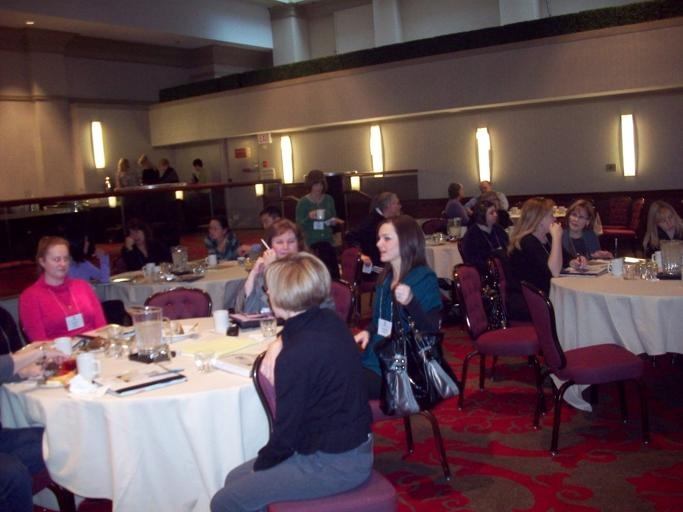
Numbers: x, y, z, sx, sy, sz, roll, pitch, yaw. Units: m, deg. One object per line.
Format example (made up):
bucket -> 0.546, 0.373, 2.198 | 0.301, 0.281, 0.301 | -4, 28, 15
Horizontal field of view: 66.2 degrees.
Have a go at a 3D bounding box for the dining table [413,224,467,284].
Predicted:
dining table -> 1.149, -0.038, 6.154 | 0.526, 0.551, 0.563 | 0, 10, 4

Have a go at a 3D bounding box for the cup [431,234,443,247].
cup -> 1.175, -0.209, 6.368 | 0.132, 0.156, 0.136 | 1, -10, 0

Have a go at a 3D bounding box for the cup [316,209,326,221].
cup -> -0.250, -0.520, 6.414 | 0.107, 0.126, 0.109 | 0, -3, 0

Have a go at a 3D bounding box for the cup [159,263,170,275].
cup -> -1.744, 0.113, 5.175 | 0.113, 0.109, 0.114 | -3, -12, -1

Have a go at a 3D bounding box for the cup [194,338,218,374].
cup -> -0.678, 0.516, 2.611 | 0.096, 0.109, 0.111 | 1, -2, 0

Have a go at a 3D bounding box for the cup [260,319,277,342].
cup -> -0.411, 0.420, 2.968 | 0.097, 0.113, 0.100 | -2, 1, 0

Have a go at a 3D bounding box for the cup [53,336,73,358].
cup -> -1.441, 0.464, 2.717 | 0.121, 0.093, 0.091 | -3, 8, -34

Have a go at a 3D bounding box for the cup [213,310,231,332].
cup -> -0.714, 0.377, 3.150 | 0.113, 0.126, 0.110 | 1, 9, 0

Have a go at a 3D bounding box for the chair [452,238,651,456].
chair -> 1.432, 0.641, 3.726 | 0.671, 0.972, 1.455 | -5, 4, -14

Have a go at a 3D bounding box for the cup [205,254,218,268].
cup -> -1.372, 0.044, 5.499 | 0.156, 0.155, 0.103 | -2, -2, 9
